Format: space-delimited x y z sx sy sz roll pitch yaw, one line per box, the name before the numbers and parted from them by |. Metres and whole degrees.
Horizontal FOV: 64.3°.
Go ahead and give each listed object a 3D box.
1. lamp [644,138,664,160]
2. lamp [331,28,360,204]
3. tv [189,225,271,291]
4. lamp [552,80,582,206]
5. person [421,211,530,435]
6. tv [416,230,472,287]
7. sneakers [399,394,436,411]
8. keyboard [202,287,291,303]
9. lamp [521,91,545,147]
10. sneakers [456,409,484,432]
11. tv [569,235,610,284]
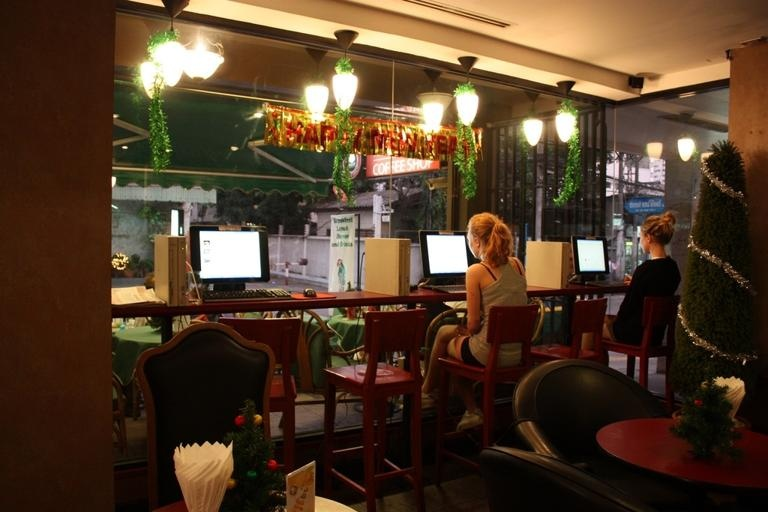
lamp | 3.044 -1.179 6.870 0.176 0.212 0.176 0 3 -8
lamp | -0.315 -1.011 4.932 0.219 1.186 0.384 -2 3 -3
tv | -1.084 0.010 4.231 0.450 0.373 0.160 0 -4 -29
lamp | 1.936 -1.166 6.465 0.262 1.261 0.876 -1 3 17
person | 0.623 0.480 4.229 0.727 1.543 0.660 -2 3 9
tv | 0.527 0.016 5.210 0.527 0.395 0.041 0 -7 -37
sneakers | 0.235 1.069 4.440 0.300 0.092 0.196 1 -7 -8
keyboard | -0.891 0.249 3.979 0.559 0.068 0.352 -3 3 -14
lamp | 1.721 -1.544 6.983 0.202 0.721 1.949 -1 3 15
sneakers | 0.601 1.161 4.270 0.107 0.080 0.193 -14 -8 -26
tv | 2.063 0.038 6.175 0.439 0.446 0.155 2 -10 -36
